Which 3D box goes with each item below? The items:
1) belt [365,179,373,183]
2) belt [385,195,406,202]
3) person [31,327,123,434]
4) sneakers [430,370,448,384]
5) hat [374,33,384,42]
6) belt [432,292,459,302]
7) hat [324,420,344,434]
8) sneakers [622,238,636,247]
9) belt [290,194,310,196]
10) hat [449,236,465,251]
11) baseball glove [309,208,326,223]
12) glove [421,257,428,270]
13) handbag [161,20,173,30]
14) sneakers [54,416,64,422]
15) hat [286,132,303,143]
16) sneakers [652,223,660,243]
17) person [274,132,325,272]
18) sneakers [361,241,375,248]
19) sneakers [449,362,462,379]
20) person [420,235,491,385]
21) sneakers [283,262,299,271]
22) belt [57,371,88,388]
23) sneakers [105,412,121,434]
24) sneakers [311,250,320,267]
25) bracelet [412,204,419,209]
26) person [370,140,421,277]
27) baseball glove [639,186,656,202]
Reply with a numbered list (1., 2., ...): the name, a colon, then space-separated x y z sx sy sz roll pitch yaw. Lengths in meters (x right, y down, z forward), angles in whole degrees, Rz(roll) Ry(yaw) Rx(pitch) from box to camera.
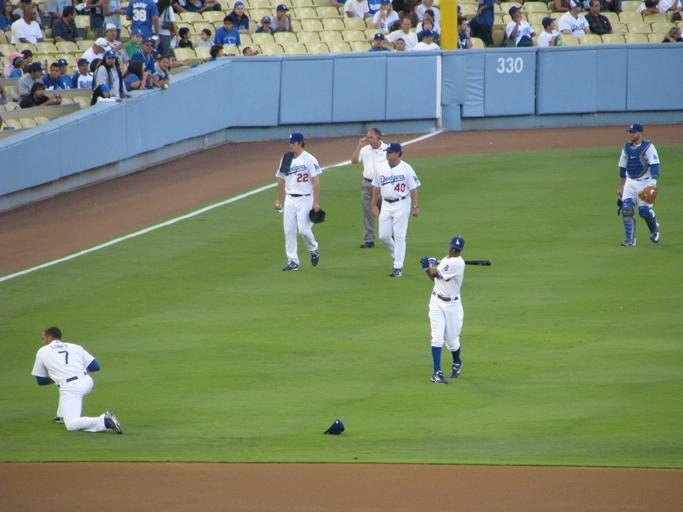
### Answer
1. belt: 0.575 -1.525 33.740 0.093 0.063 0.085 -3 32 -3
2. belt: 1.063 -1.094 32.454 0.400 0.111 0.090 -3 11 -5
3. person: -4.436 2.261 27.824 1.236 1.411 2.498 -6 24 -29
4. sneakers: 1.703 2.123 28.930 0.149 0.130 0.303 -1 2 -31
5. hat: 0.968 -5.552 42.197 0.283 0.153 0.383 1 8 -1
6. belt: 1.808 0.695 28.785 0.456 0.173 0.172 -2 11 0
7. hat: -0.101 2.827 27.719 0.314 0.254 0.375 0 11 12
8. sneakers: 5.905 -0.297 34.226 0.351 0.221 0.110 4 40 3
9. belt: -0.805 -1.199 32.858 0.354 0.058 0.044 -2 11 2
10. hat: 2.002 -0.207 28.805 0.226 0.271 0.366 -2 11 2
11. baseball glove: -0.468 -0.785 32.837 0.292 0.296 0.207 0 11 9
12. glove: 1.452 0.140 28.874 0.184 0.175 0.140 5 4 19
13. handbag: -4.090 -5.471 39.473 0.394 0.199 0.220 5 -2 19
14. sneakers: -4.786 2.766 28.059 0.231 0.090 0.074 6 4 3
15. hat: -0.882 -2.340 32.883 0.263 0.207 0.420 -2 11 -1
16. sneakers: 6.457 -0.470 34.259 0.132 0.375 0.183 10 1 38
17. person: -0.829 -1.066 33.162 0.872 2.817 1.011 -3 11 -1
18. sneakers: 0.560 -0.236 34.713 0.312 0.124 0.110 1 11 -1
19. sneakers: 2.011 2.023 29.123 0.132 0.153 0.340 8 52 21
20. person: 1.874 0.882 29.196 0.830 2.546 1.299 -2 11 3
21. sneakers: -0.994 0.217 33.491 0.330 0.133 0.154 4 6 38
22. belt: -4.445 2.074 27.704 0.491 0.224 0.139 -6 12 -17
23. sneakers: -3.762 2.775 27.565 0.279 0.419 0.213 -1 11 6
24. sneakers: -0.516 0.059 33.469 0.127 0.339 0.151 -2 16 -2
25. bracelet: 1.490 -0.997 33.336 0.173 0.065 0.181 2 13 0
26. person: 1.089 -0.942 32.968 0.936 2.697 1.333 -2 11 1
27. baseball glove: 6.123 -1.218 33.282 0.338 0.297 0.269 3 6 7
